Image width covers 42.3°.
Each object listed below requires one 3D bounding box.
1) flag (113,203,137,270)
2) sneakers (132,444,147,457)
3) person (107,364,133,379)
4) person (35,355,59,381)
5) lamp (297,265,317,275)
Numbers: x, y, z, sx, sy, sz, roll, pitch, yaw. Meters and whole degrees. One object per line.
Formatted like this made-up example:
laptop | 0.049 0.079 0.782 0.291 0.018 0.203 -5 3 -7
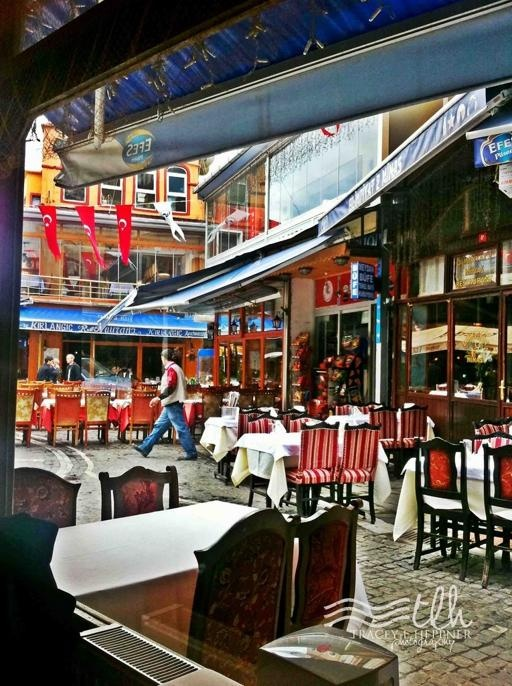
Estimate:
flag | -1.711 -1.325 8.460 0.204 0.672 1.164 3 -3 -11
sneakers | -1.759 1.672 10.304 0.164 0.180 0.475 -1 -19 14
person | -3.868 0.803 18.522 0.406 0.432 0.802 3 5 -4
person | -3.701 0.484 11.728 0.372 0.454 1.124 4 -3 -17
lamp | 0.964 -1.363 12.540 0.202 0.149 0.207 -2 7 -9
